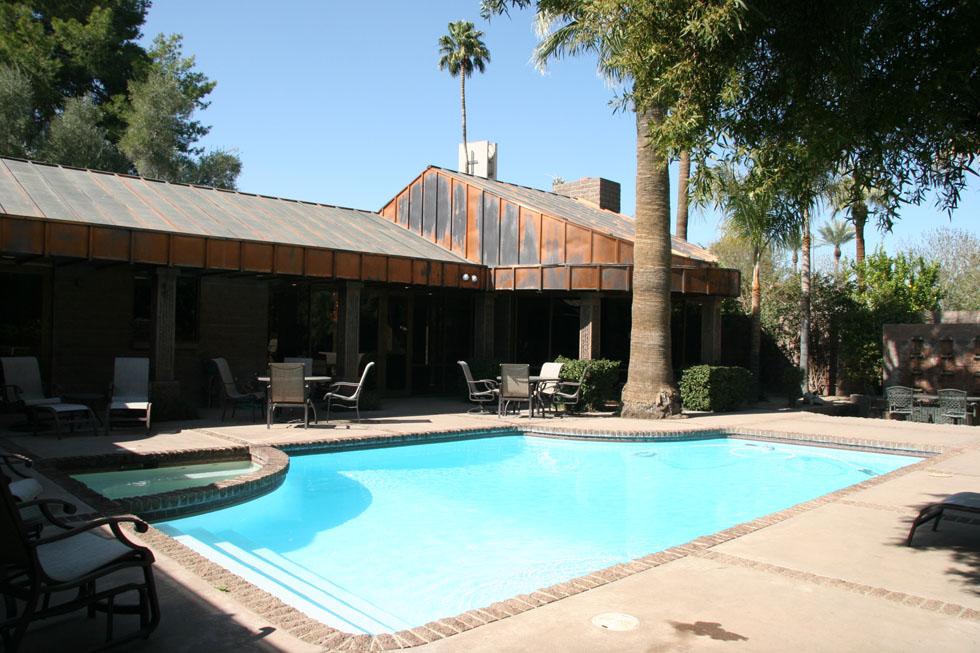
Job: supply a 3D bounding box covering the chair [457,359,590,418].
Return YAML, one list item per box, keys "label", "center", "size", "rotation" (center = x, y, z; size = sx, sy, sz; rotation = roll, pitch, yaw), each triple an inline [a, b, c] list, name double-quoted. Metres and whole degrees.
- label: "chair"
  center: [0.918, 1.550, 19.689]
  size: [2.982, 1.335, 2.482]
  rotation: [-3, -6, 24]
